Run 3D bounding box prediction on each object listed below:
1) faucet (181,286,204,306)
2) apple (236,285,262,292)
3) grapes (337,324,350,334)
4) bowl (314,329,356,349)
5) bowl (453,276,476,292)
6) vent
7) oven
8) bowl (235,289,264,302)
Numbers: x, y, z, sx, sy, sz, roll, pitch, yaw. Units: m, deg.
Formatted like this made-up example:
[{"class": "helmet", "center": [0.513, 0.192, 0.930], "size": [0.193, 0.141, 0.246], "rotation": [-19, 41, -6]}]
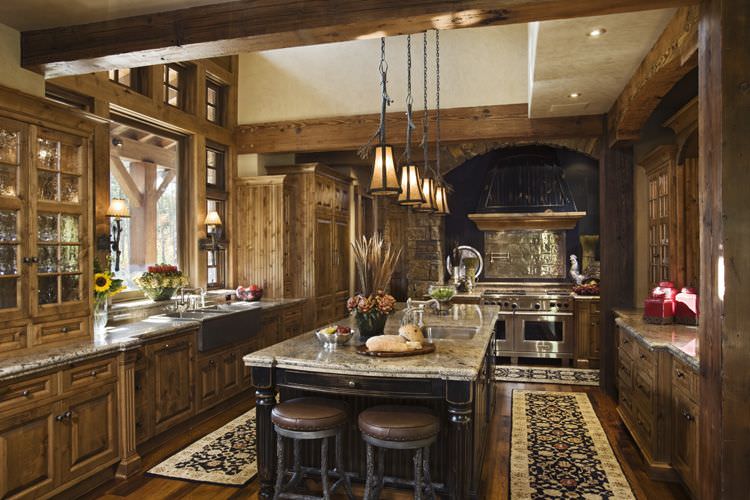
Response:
[{"class": "faucet", "center": [-2.253, 0.589, 7.225], "size": [0.264, 0.179, 0.267], "rotation": [1, 2, 5]}, {"class": "apple", "center": [-1.659, 0.517, 7.759], "size": [0.163, 0.059, 0.165], "rotation": [0, 0, 43]}, {"class": "grapes", "center": [-0.280, 0.703, 5.137], "size": [0.123, 0.052, 0.122], "rotation": [1, 1, 7]}, {"class": "bowl", "center": [-0.344, 0.765, 5.111], "size": [0.291, 0.163, 0.298], "rotation": [0, 7, 0]}, {"class": "bowl", "center": [1.487, 0.569, 9.564], "size": [0.328, 0.112, 0.338], "rotation": [-1, 12, 0]}, {"class": "vent", "center": [2.533, -0.933, 9.901], "size": [1.802, 1.499, 0.635], "rotation": [-1, -18, 9]}, {"class": "oven", "center": [2.461, 1.317, 9.012], "size": [1.292, 0.810, 0.856], "rotation": [-2, -6, 14]}, {"class": "bowl", "center": [-1.658, 0.601, 7.740], "size": [0.229, 0.110, 0.199], "rotation": [1, -1, 28]}]
